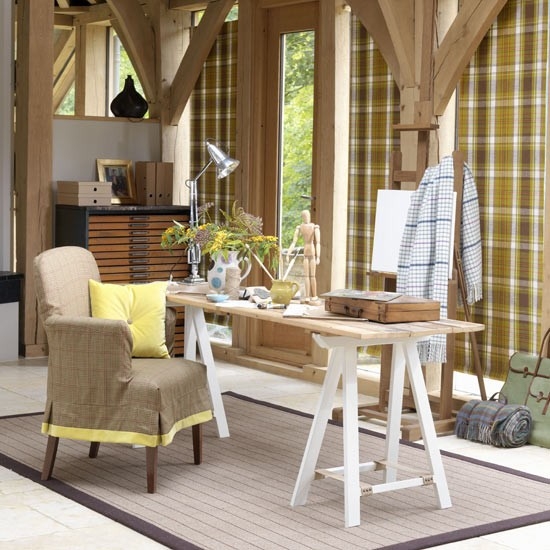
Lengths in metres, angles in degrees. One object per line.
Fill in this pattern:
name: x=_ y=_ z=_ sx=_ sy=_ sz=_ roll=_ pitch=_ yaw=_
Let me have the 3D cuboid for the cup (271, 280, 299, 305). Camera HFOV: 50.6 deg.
cup: x=0.048 y=0.075 z=2.587 sx=0.073 sy=0.091 sz=0.118 roll=-2 pitch=-7 yaw=27

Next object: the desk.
desk: x=0.125 y=0.542 z=2.615 sx=0.460 sy=0.710 sz=1.454 roll=4 pitch=-3 yaw=-25

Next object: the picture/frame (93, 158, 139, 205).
picture/frame: x=-1.448 y=-0.831 z=5.263 sx=0.452 sy=0.609 sz=0.042 roll=-2 pitch=-7 yaw=-43

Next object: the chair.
chair: x=-0.670 y=0.375 z=2.556 sx=0.599 sy=0.966 sz=0.618 roll=0 pitch=0 yaw=11
